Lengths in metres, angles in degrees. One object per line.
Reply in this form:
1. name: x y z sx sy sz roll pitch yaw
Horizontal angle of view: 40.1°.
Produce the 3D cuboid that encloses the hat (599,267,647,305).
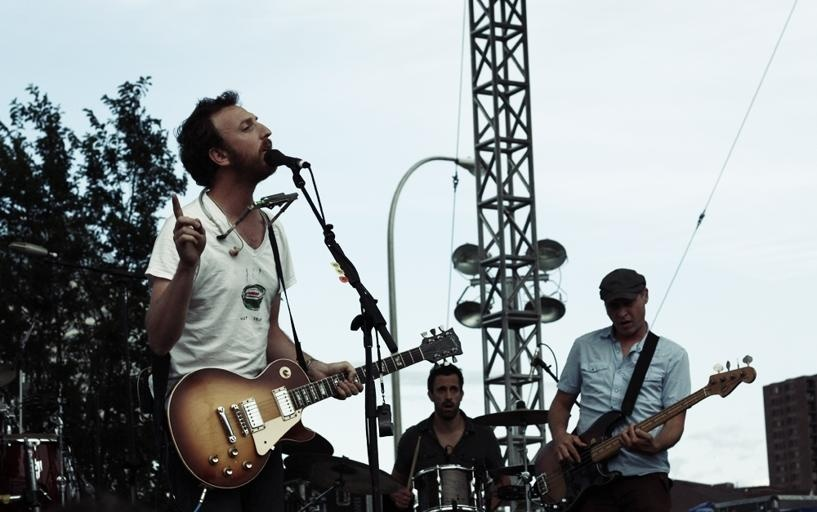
1. hat: 2.669 0.360 13.982 0.455 0.317 0.624 -14 -1 17
